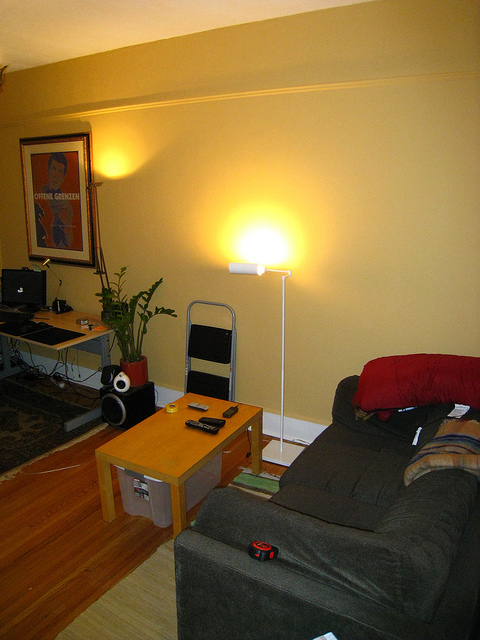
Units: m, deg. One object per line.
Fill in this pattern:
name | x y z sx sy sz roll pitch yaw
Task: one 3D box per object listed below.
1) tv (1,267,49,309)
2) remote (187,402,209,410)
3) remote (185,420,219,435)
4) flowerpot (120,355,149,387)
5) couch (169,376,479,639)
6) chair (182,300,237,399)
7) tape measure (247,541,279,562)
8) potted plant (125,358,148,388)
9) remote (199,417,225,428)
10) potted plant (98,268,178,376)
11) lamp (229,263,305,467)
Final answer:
tv | -1.972 -0.293 4.623 0.342 0.308 0.156 5 12 11
remote | -0.255 0.538 3.165 0.080 0.016 0.046 7 10 19
remote | -0.212 0.604 2.856 0.196 0.047 0.068 10 20 36
flowerpot | -0.794 0.389 3.858 0.248 0.201 0.191 -9 16 -30
couch | 0.317 0.680 1.917 0.469 0.356 0.918 6 15 27
chair | -0.230 0.338 3.786 0.426 0.942 0.316 9 22 13
tape measure | 0.070 0.685 1.499 0.076 0.046 0.073 9 17 32
potted plant | -0.755 0.389 3.841 0.151 0.181 0.181 -20 28 -41
remote | -0.161 0.580 2.895 0.100 0.026 0.058 5 7 17
potted plant | -0.793 0.076 3.962 0.652 0.813 0.638 1 -2 -17
lamp | 0.196 0.402 3.330 0.395 1.693 0.342 4 12 21
